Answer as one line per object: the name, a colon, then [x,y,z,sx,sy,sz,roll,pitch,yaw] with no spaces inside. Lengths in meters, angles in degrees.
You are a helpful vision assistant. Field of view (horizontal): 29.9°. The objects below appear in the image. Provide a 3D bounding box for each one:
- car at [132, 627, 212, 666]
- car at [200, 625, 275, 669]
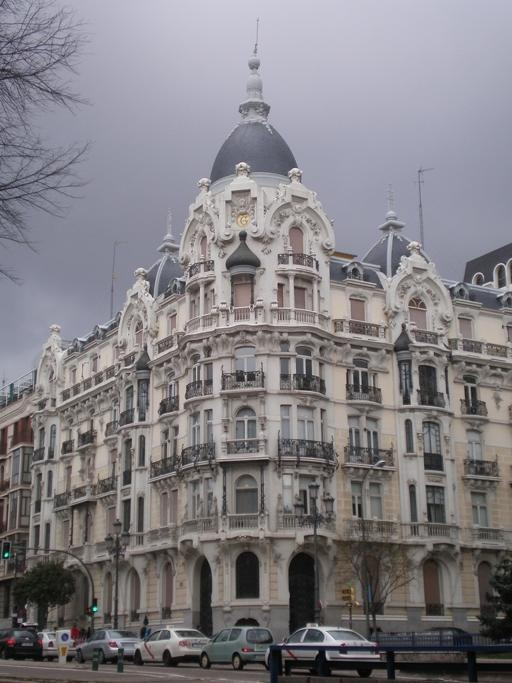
car: [-3.090,11.013,34.685,1.303,0.947,2.973,14,-25,-32]
car: [-0.533,10.191,31.955,1.017,1.449,2.926,17,-29,-34]
